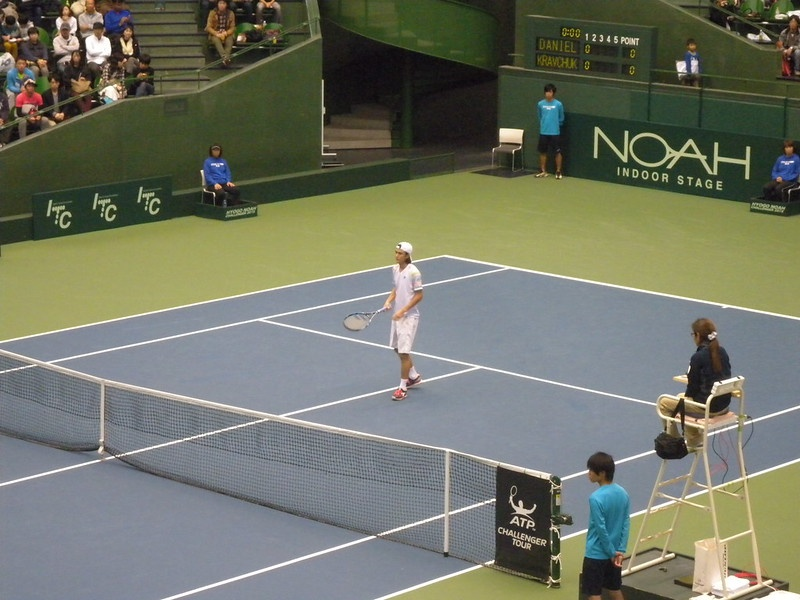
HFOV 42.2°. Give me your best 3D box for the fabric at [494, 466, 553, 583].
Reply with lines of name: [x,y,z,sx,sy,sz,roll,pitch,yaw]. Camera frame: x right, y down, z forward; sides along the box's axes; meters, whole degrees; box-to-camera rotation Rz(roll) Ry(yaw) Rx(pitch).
fabric: [1.136,2.038,9.418,0.849,0.973,0.192,12,19,42]

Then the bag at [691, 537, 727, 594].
bag: [2.491,2.156,8.343,0.255,0.460,0.260,3,14,17]

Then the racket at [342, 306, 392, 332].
racket: [-0.459,0.285,15.166,0.537,0.025,0.171,-28,43,-19]

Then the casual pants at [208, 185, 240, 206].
casual pants: [-3.748,-2.300,22.538,0.483,0.650,0.474,7,16,29]

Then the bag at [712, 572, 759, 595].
bag: [2.676,2.285,8.404,0.199,0.084,0.262,-9,1,-39]

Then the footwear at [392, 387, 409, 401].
footwear: [0.009,1.227,13.534,0.153,0.150,0.353,-1,-3,13]

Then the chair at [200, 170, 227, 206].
chair: [-3.985,-2.426,22.370,0.481,0.886,0.471,15,25,34]

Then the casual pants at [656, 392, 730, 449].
casual pants: [2.562,1.062,8.728,0.459,0.588,0.419,1,5,-34]

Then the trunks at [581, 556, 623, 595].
trunks: [1.602,2.180,8.229,0.347,0.348,0.204,-2,14,-12]

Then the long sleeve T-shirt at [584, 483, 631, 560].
long sleeve T-shirt: [1.647,1.743,8.175,0.354,0.582,0.238,-1,13,1]

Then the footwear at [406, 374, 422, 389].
footwear: [0.192,1.093,13.871,0.254,0.110,0.090,-25,20,-37]

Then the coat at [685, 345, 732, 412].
coat: [2.679,0.624,8.911,0.358,0.522,0.260,-8,26,-10]

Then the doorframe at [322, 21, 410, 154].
doorframe: [-0.833,-6.246,30.596,2.773,3.815,2.430,1,9,9]
